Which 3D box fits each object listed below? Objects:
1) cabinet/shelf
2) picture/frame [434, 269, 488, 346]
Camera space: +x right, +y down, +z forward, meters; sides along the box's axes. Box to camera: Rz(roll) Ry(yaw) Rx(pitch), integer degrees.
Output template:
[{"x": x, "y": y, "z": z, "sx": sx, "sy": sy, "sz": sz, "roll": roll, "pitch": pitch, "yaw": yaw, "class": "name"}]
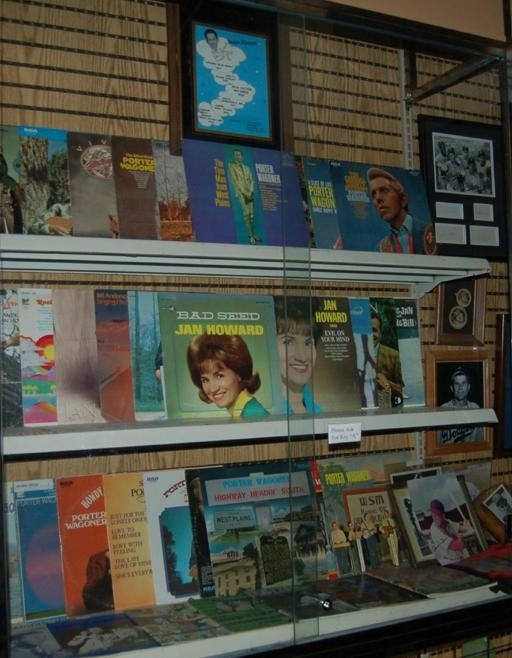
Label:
[{"x": -0.002, "y": 0.214, "z": 1.415, "sx": 1.058, "sy": 0.906, "sz": 0.362, "roll": -6, "pitch": 0, "yaw": -18, "class": "cabinet/shelf"}, {"x": 0.548, "y": -0.058, "z": 1.689, "sx": 0.184, "sy": 0.255, "sz": 0.026, "roll": 2, "pitch": 3, "yaw": 28, "class": "picture/frame"}]
